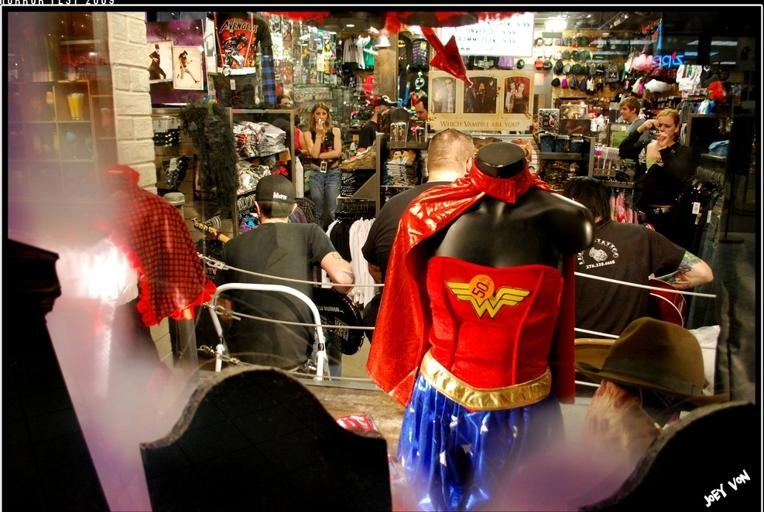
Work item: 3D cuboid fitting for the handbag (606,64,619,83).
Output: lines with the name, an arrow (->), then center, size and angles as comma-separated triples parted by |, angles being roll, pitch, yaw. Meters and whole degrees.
handbag -> 0.828, -0.656, 1.833 | 0.047, 0.045, 0.086 | 1, 3, 12

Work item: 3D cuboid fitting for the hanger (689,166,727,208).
hanger -> 1.179, -0.249, 1.856 | 0.100, 0.135, 0.058 | 19, 30, 31

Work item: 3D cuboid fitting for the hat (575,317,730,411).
hat -> 0.831, 0.296, 1.616 | 0.351, 0.133, 0.305 | 8, -2, 7

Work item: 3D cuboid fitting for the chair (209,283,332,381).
chair -> -0.444, 0.336, 2.015 | 0.486, 0.448, 0.247 | 2, 25, 8

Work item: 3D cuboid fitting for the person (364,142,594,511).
person -> 0.234, 0.233, 1.482 | 0.621, 1.087, 0.280 | 7, 20, 21

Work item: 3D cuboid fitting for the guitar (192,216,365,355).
guitar -> -0.399, 0.055, 2.158 | 0.826, 0.789, 0.476 | 1, 11, -2

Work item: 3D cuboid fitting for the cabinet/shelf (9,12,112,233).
cabinet/shelf -> -1.066, -0.431, 1.679 | 0.381, 0.680, 0.155 | -9, 20, -25

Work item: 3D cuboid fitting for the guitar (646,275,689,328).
guitar -> 0.949, 0.159, 1.693 | 0.161, 0.066, 0.038 | 29, 44, 34
